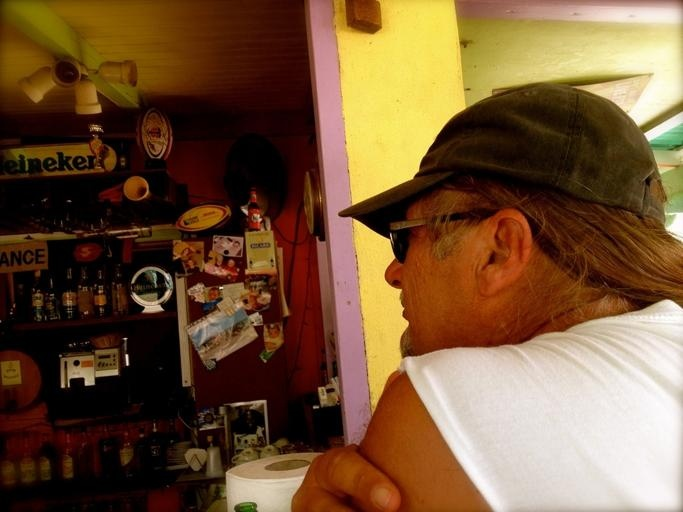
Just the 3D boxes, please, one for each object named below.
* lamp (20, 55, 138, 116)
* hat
[{"bbox_3d":[-2.037,-1.347,4.682,0.260,0.365,0.958,-7,14,41],"label":"lamp"},{"bbox_3d":[0.537,-0.278,1.855,0.673,0.328,0.427,3,-5,12],"label":"hat"}]
